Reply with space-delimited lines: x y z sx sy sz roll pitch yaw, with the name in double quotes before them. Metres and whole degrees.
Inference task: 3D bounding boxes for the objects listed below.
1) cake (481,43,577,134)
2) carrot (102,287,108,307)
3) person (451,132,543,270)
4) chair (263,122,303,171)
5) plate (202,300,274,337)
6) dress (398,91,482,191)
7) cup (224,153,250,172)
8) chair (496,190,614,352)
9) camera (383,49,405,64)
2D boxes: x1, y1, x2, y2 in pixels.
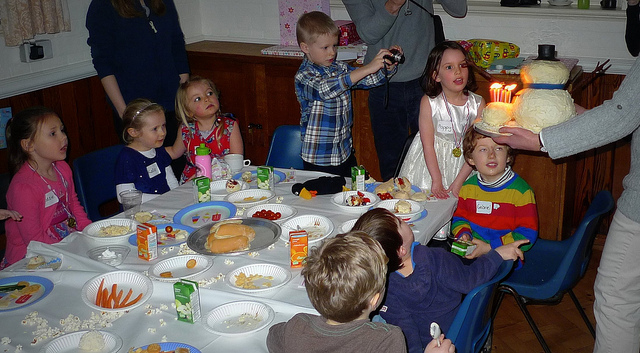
"cake" 1.364 -0.576 2.649 0.615 0.544 0.414 -2 18 12
"carrot" -1.196 0.672 2.246 0.027 0.031 0.116 -6 43 -10
"person" 1.293 0.118 3.127 0.738 1.093 0.754 -10 12 -37
"chair" -0.333 -0.292 3.767 0.402 0.544 0.429 1 19 5
"plate" -0.420 0.753 2.102 0.238 0.049 0.248 -17 20 -32
"dress" 1.061 -0.329 3.553 0.474 0.802 0.645 13 27 29
"cup" -0.705 -0.115 3.409 0.204 0.117 0.132 5 18 10
"chair" 1.758 0.767 3.052 0.924 1.127 0.752 12 35 28
"camera" 0.606 -0.974 3.298 0.142 0.073 0.144 7 18 39
